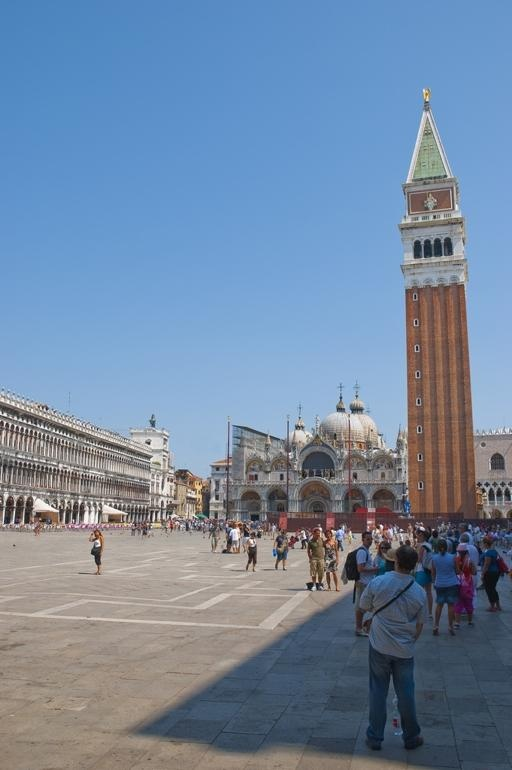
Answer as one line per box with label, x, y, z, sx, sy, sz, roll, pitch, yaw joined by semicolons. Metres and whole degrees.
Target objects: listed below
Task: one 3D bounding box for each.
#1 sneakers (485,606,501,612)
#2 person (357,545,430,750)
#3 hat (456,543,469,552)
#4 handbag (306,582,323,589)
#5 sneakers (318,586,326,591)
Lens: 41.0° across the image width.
sneakers;4.988;4.697;14.348;0.276;0.108;0.533;-4;-10;17
person;1.187;2.218;5.852;0.561;1.629;0.440;-1;-10;6
hat;3.868;3.059;12.810;0.181;0.127;0.270;-3;-10;17
handbag;1.465;5.203;17.636;0.248;0.136;0.316;6;-15;-29
sneakers;1.680;5.269;17.716;0.091;0.121;0.285;-4;-20;-7
